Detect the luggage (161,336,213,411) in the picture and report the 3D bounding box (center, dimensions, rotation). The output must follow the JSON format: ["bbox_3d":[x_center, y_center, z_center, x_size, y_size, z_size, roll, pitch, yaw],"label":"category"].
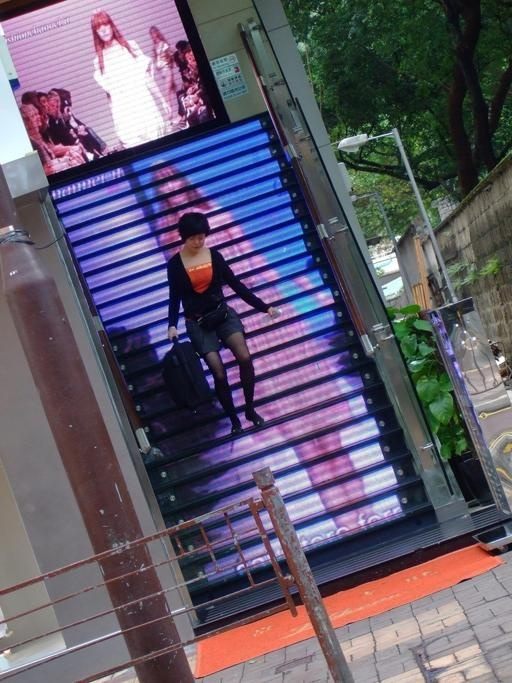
[{"bbox_3d":[-0.518,0.255,6.852,0.312,0.520,0.404,-16,-18,-28],"label":"luggage"}]

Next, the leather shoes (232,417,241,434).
[{"bbox_3d":[-0.147,0.643,6.905,0.078,0.109,0.115,2,-28,0],"label":"leather shoes"}]

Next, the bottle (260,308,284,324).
[{"bbox_3d":[0.146,-0.208,7.335,0.116,0.134,0.054,-2,6,1],"label":"bottle"}]
